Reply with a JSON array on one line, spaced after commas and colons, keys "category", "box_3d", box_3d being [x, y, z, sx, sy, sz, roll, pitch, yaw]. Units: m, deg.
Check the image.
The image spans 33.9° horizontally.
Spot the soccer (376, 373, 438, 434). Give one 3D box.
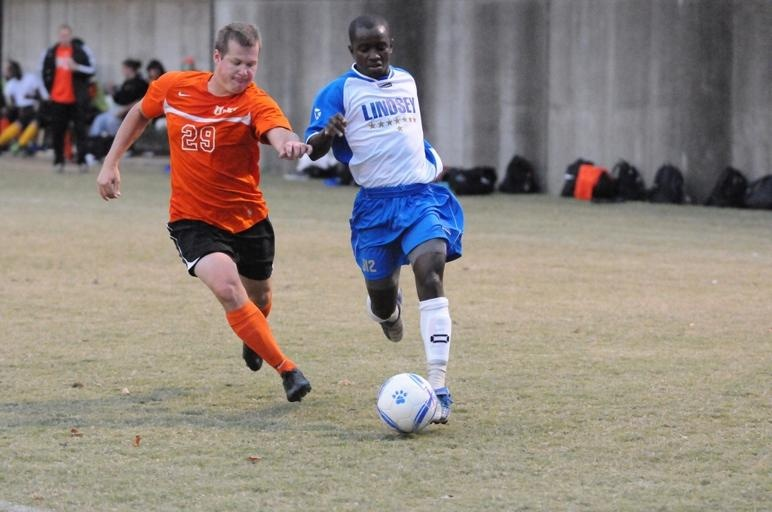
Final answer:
[{"category": "soccer", "box_3d": [0.108, 0.808, 6.957, 0.326, 0.321, 0.305, -4, 8, -8]}]

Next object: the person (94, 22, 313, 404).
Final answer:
[{"category": "person", "box_3d": [-0.932, -0.266, 7.351, 1.329, 2.135, 0.534, 4, 7, 30]}]

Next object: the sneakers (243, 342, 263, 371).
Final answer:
[{"category": "sneakers", "box_3d": [-0.783, 0.605, 7.485, 0.114, 0.162, 0.042, -19, 23, 9]}]

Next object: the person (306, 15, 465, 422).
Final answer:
[{"category": "person", "box_3d": [0.005, -0.240, 7.209, 0.869, 2.240, 0.807, 2, 6, 11]}]

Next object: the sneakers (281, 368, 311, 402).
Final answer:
[{"category": "sneakers", "box_3d": [-0.502, 0.721, 7.122, 0.157, 0.184, 0.081, -23, -12, -6]}]
